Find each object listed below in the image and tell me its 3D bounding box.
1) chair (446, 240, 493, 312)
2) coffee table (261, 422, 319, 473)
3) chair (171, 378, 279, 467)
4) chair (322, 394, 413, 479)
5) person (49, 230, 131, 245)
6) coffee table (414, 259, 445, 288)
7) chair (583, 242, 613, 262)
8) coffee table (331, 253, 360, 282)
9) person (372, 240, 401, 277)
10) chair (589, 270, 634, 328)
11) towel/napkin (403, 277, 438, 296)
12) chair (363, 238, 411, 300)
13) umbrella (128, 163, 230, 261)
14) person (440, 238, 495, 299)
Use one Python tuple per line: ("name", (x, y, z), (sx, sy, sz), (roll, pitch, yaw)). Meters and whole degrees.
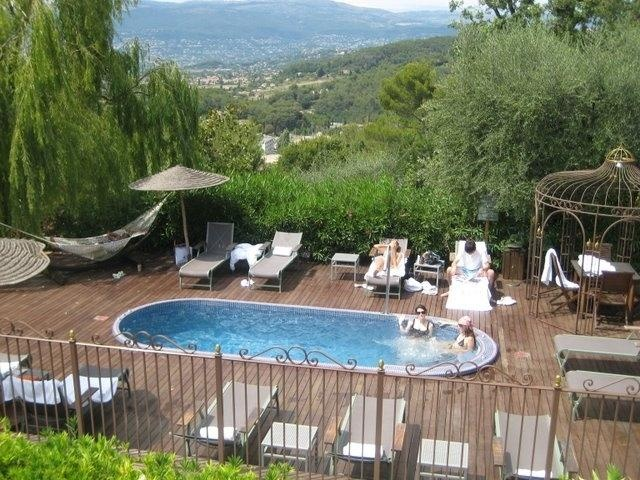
("chair", (3.560, 0.911, 12.497), (0.892, 0.970, 1.707), (0, 29, 15))
("coffee table", (-0.425, 2.929, 7.348), (0.723, 0.663, 0.757), (5, 22, 14))
("chair", (-1.323, 2.579, 7.800), (0.807, 0.572, 1.753), (3, 14, 7))
("chair", (0.669, 2.784, 7.353), (0.788, 0.518, 1.366), (3, 14, 11))
("person", (-6.126, -0.059, 14.322), (1.616, 0.278, 0.358), (1, 22, -44))
("coffee table", (2.768, 0.864, 13.557), (0.618, 0.596, 0.712), (5, 17, 22))
("chair", (5.944, 0.233, 11.289), (0.627, 0.459, 0.641), (-1, 5, -36))
("coffee table", (0.642, 0.660, 13.967), (0.617, 0.587, 0.700), (4, 23, 11))
("person", (1.553, 0.441, 12.645), (0.460, 0.599, 0.982), (8, 5, 23))
("chair", (6.130, 1.229, 11.164), (0.608, 1.302, 0.887), (2, 32, 16))
("towel/napkin", (2.440, 1.180, 12.921), (0.520, 0.212, 0.448), (5, 15, 13))
("chair", (1.659, 0.676, 12.880), (0.781, 0.883, 1.566), (1, 28, 13))
("umbrella", (-3.676, -0.604, 14.219), (2.257, 2.683, 2.696), (2, 12, 16))
("person", (3.715, 0.394, 12.825), (0.892, 0.886, 1.496), (5, 28, 22))
